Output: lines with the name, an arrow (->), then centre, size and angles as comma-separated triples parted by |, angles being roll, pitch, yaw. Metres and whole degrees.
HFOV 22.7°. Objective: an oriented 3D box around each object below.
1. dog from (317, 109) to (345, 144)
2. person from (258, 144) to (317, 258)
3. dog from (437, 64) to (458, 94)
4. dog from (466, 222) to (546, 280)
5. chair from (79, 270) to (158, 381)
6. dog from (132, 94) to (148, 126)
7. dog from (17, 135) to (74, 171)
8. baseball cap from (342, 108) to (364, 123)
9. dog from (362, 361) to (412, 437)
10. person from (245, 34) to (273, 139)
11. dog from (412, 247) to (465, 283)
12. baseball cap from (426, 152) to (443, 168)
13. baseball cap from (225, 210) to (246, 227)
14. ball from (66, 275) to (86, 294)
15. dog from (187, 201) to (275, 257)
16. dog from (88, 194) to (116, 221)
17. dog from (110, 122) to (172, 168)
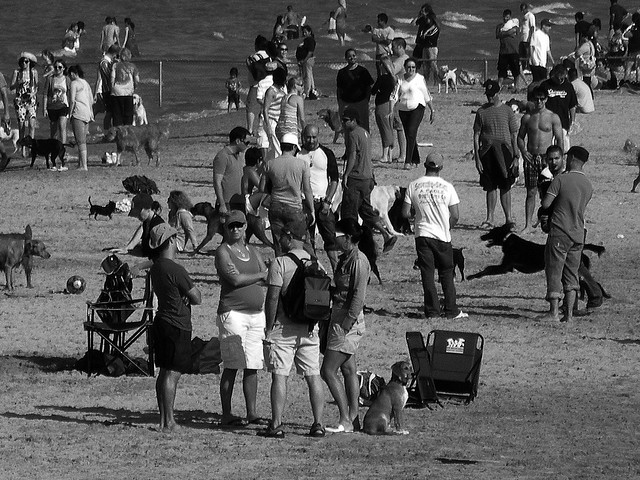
dog -> 0.371, -2.359, 34.923 | 0.266, 0.655, 1.221 | -18, -13, 6
person -> -0.586, -0.623, 28.379 | 0.975, 2.601, 0.759 | -2, 25, -3
dog -> 3.857, -4.761, 48.133 | 0.605, 0.767, 1.336 | 0, 5, 5
dog -> 3.508, 0.249, 29.195 | 1.026, 0.864, 1.571 | -2, 6, -18
chair -> -3.399, 1.391, 26.864 | 1.367, 1.808, 1.307 | -2, -5, 22
dog -> -5.008, -3.385, 43.794 | 0.364, 0.884, 1.438 | -3, -2, 4
dog -> -6.646, -2.092, 38.384 | 1.491, 0.846, 0.468 | 4, 9, 20
baseball cap -> 0.578, -2.237, 29.116 | 0.289, 0.157, 0.205 | 15, 7, 14
dog -> 1.052, 2.440, 24.904 | 0.792, 1.108, 0.455 | -1, 5, 0
person -> -1.449, -3.507, 37.651 | 0.751, 2.328, 0.713 | 4, 4, -20
dog -> 2.230, 0.516, 29.385 | 0.831, 0.784, 2.945 | 0, 5, 7
baseball cap -> 2.015, -1.355, 27.854 | 0.310, 0.224, 0.281 | -2, 5, -12
baseball cap -> -1.331, -0.323, 24.714 | 0.276, 0.224, 0.473 | -1, -6, 3
ball -> -4.545, 0.835, 29.471 | 0.350, 0.320, 0.394 | -2, 5, -12
dog -> -1.810, -0.107, 30.875 | 1.130, 1.004, 2.786 | -2, 6, -20
dog -> -4.669, -0.621, 33.865 | 0.591, 0.462, 0.714 | -1, 5, -9
dog -> -4.350, -2.253, 38.365 | 1.722, 1.040, 0.427 | -2, 9, -37
